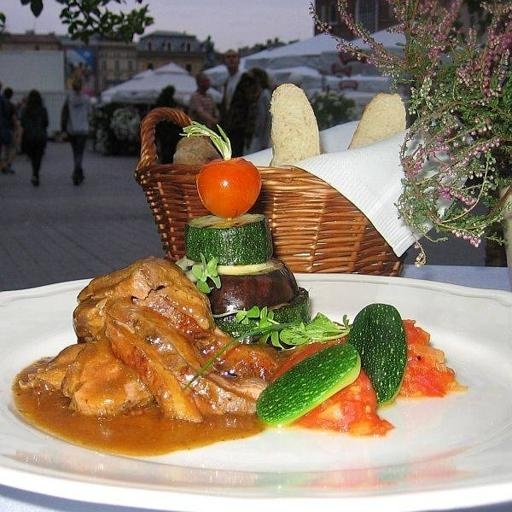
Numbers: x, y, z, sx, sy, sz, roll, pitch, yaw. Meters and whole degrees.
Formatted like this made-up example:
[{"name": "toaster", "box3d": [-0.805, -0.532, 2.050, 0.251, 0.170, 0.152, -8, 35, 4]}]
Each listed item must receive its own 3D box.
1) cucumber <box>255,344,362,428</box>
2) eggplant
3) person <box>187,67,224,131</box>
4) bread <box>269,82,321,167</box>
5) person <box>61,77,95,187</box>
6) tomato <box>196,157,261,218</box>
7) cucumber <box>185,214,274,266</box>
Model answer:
[{"name": "cucumber", "box3d": [0.141, 0.337, 1.583, 0.311, 0.079, 0.171, -36, 26, 0]}, {"name": "eggplant", "box3d": [-0.070, 0.082, 2.145, 0.502, 0.145, 0.432, -1, 15, 9]}, {"name": "person", "box3d": [-0.605, -1.714, 7.128, 0.516, 0.824, 0.403, 19, 37, 15]}, {"name": "bread", "box3d": [0.157, -0.562, 2.672, 0.273, 0.389, 0.218, -5, 14, -7]}, {"name": "person", "box3d": [-1.838, -1.285, 6.125, 0.303, 0.901, 0.699, -5, 12, -15]}, {"name": "tomato", "box3d": [-0.091, -0.218, 1.960, 0.191, 0.196, 0.176, -4, 12, -18]}, {"name": "cucumber", "box3d": [-0.094, -0.069, 1.977, 0.284, 0.156, 0.186, -6, 11, -13]}]
